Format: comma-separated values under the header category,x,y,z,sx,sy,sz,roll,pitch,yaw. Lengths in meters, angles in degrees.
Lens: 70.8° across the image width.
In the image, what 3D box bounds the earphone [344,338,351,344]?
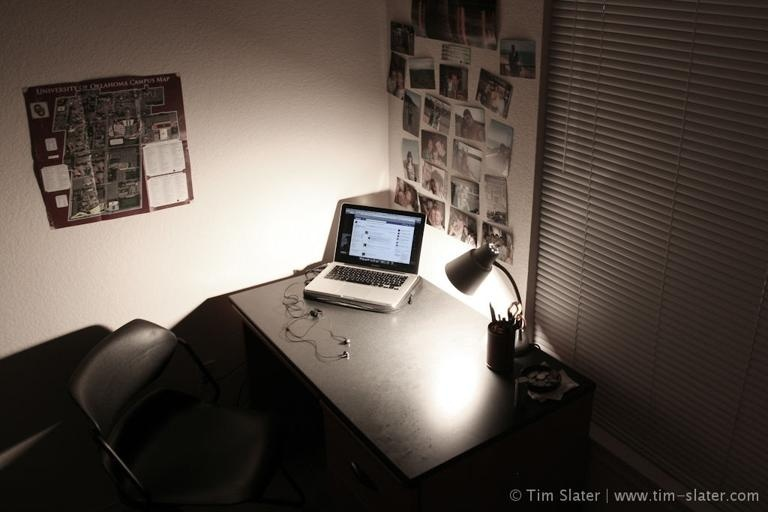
category,x,y,z,sx,sy,sz,roll,pitch,yaw
earphone,-0.176,0.407,2.572,0.023,0.007,0.022,8,18,36
